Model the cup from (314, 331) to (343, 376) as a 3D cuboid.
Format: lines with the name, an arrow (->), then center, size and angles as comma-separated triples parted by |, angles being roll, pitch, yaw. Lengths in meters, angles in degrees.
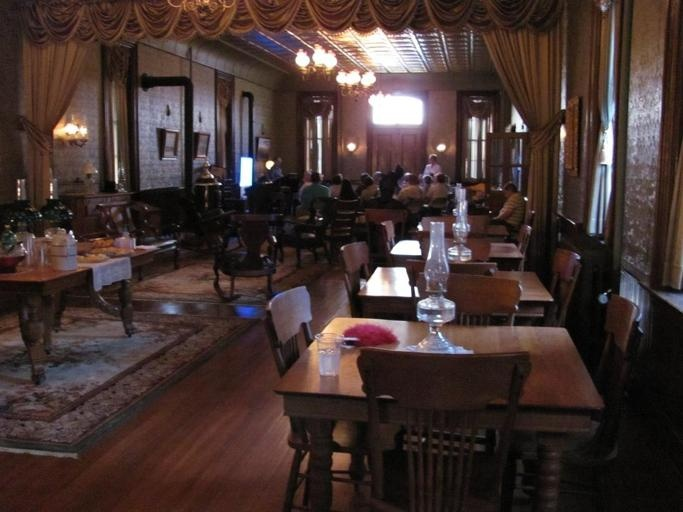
cup -> -0.049, 0.405, 2.243 | 0.103, 0.174, 0.158 | 0, 11, 0

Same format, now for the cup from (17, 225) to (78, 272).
cup -> -2.528, -0.067, 4.652 | 0.562, 0.379, 0.294 | 2, 4, 18

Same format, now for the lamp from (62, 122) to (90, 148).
lamp -> -4.643, -2.165, 9.356 | 0.220, 0.437, 0.547 | 2, 11, 9

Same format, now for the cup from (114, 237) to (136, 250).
cup -> -2.174, -0.131, 5.293 | 0.147, 0.102, 0.148 | -1, 1, 0

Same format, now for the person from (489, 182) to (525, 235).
person -> 2.549, -0.585, 8.112 | 0.531, 1.016, 0.478 | -5, 16, -11
